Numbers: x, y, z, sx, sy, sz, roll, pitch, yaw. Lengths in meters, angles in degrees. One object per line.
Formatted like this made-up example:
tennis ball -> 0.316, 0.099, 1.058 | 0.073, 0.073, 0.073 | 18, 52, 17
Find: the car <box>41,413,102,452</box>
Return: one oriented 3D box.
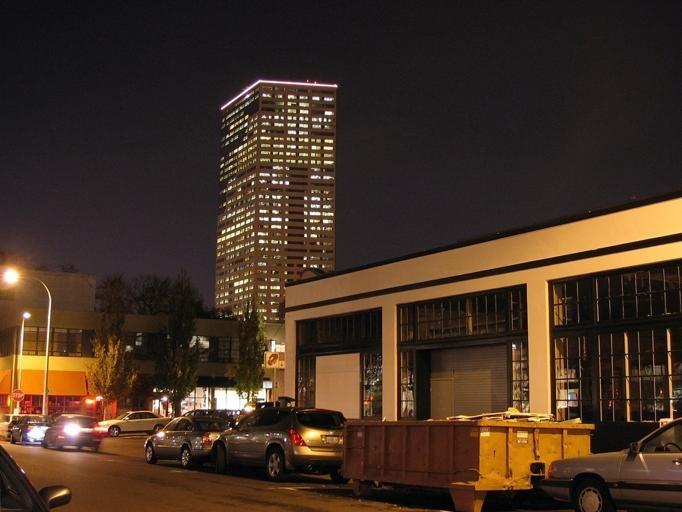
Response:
car -> -12.660, 8.278, 33.507 | 1.509, 1.407, 2.867 | 3, -7, -24
